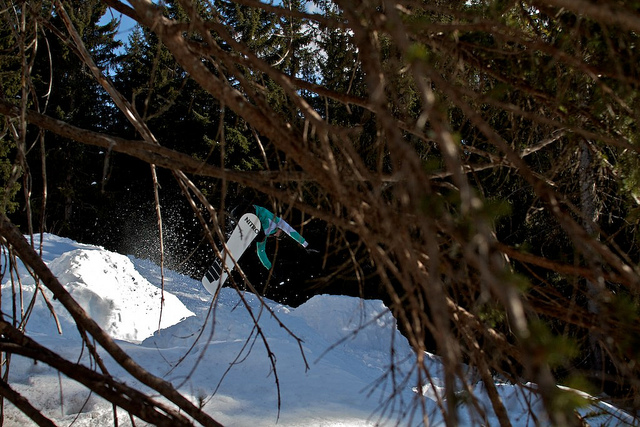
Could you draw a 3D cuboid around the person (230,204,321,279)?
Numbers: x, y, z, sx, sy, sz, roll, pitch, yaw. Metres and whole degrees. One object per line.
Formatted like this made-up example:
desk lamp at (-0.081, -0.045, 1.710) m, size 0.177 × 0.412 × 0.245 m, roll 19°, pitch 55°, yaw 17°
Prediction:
person at (-0.393, 0.172, 5.671) m, size 0.670 × 0.189 × 0.733 m, roll 28°, pitch 31°, yaw -21°
